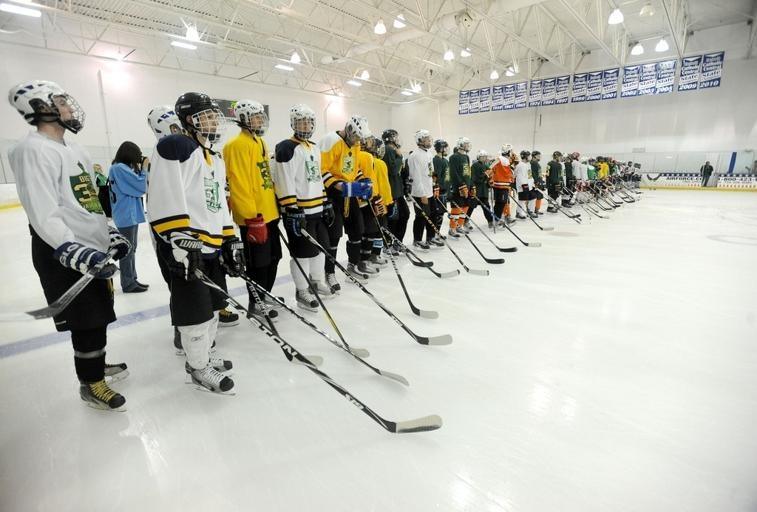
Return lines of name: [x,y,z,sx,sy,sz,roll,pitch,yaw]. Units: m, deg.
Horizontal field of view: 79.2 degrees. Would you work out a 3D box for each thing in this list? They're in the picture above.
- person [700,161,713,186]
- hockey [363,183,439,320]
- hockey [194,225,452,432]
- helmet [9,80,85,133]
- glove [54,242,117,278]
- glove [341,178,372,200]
person: [11.397,-2.792,15.850,0.351,0.778,0.341,6,17,23]
hockey: [0.131,-0.084,5.275,0.285,0.334,2.732,16,32,-22]
hockey: [-0.535,0.653,4.000,2.216,0.297,0.268,39,32,12]
helmet: [-2.368,-1.072,3.370,0.486,0.482,0.380,-12,25,-32]
glove: [-2.047,0.023,3.209,0.388,0.148,0.230,25,23,-28]
glove: [-0.257,-0.753,5.191,0.336,0.227,0.227,-2,15,-5]
